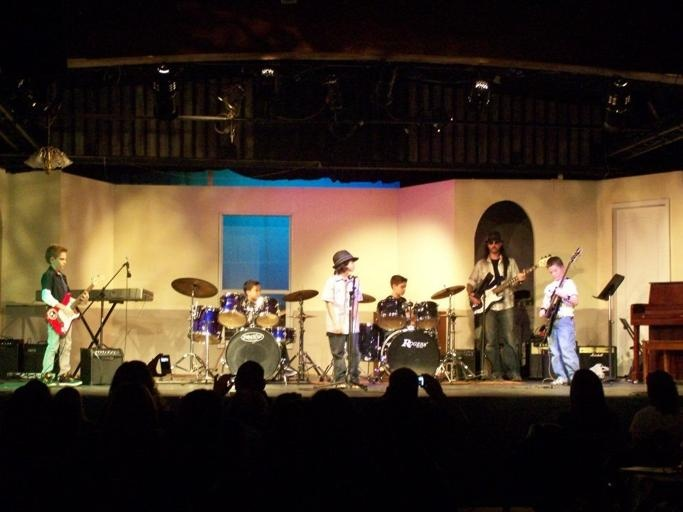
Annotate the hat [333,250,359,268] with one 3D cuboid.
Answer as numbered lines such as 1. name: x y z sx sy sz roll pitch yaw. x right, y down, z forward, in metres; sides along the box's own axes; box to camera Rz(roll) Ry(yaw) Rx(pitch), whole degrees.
1. hat: 0.036 0.049 10.201 0.267 0.108 0.237 -29 -10 11

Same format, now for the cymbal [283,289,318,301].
1. cymbal: -0.602 0.579 11.214 0.259 0.067 0.275 -8 -18 0

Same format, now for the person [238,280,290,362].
1. person: -1.144 0.953 11.276 0.688 1.095 0.945 2 13 -1

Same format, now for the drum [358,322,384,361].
1. drum: 0.408 1.242 11.085 0.428 0.517 0.456 0 -4 11

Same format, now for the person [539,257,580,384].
1. person: 3.094 0.903 10.924 0.449 1.735 0.578 1 -5 -22

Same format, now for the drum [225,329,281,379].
1. drum: -1.215 1.423 10.786 0.781 0.812 0.661 1 0 -6

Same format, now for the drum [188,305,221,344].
1. drum: -1.945 1.016 11.119 0.479 0.506 0.505 5 -19 -10

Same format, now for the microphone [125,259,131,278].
1. microphone: -3.394 0.205 12.228 0.118 0.168 0.447 -8 24 -12

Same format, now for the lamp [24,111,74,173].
1. lamp: -4.206 -1.403 11.022 0.470 1.291 0.676 2 4 17

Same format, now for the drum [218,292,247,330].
1. drum: -1.518 0.772 10.971 0.438 0.437 0.457 -29 -35 30

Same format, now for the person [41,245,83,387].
1. person: -4.071 0.886 11.067 0.444 2.407 0.484 4 2 20

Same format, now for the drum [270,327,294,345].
1. drum: -0.820 1.143 11.027 0.246 0.179 0.247 0 -4 0

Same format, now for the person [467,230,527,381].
1. person: 2.350 0.772 11.592 0.870 2.179 0.673 -3 4 15

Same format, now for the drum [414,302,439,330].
1. drum: 1.226 0.866 11.291 0.362 0.365 0.372 5 -10 -14

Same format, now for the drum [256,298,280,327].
1. drum: -1.036 0.804 10.984 0.362 0.366 0.389 -1 -40 -3

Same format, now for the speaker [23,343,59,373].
1. speaker: -4.361 1.485 11.227 0.429 0.449 0.241 0 -5 -3
